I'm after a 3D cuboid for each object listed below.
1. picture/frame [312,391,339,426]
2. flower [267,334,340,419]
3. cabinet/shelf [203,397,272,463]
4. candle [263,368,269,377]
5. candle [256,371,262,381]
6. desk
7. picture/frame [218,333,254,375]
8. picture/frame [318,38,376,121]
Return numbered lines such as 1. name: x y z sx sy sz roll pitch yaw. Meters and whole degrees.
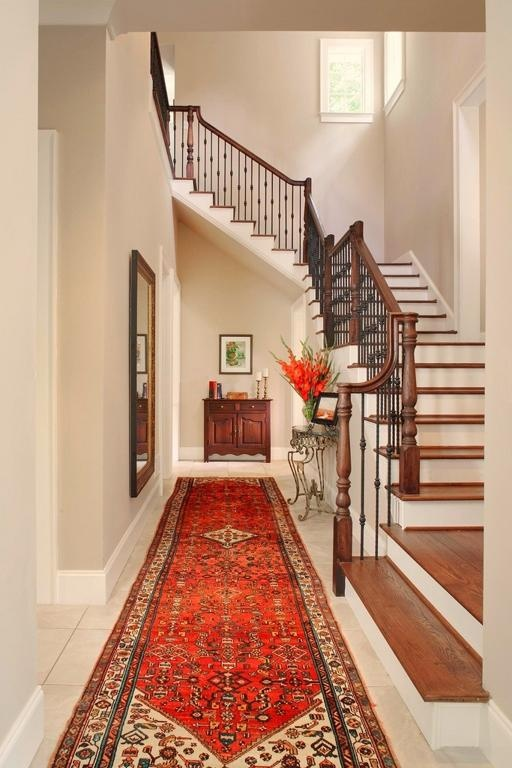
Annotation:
1. picture/frame: 0.546 0.191 4.183 0.016 0.276 0.237 14 -10 -19
2. flower: 0.479 -0.071 4.635 0.632 0.917 0.621 -1 3 -15
3. cabinet/shelf: -0.240 0.610 6.986 0.833 0.819 0.301 0 0 -11
4. candle: 0.137 -0.157 7.422 0.081 0.169 0.088 -5 -6 37
5. candle: 0.047 -0.117 7.426 0.080 0.171 0.090 -3 -2 28
6. desk: 0.500 0.754 4.861 0.447 0.916 0.861 0 2 0
7. picture/frame: -0.280 -0.414 7.479 0.426 0.690 0.042 1 -6 -7
8. picture/frame: 1.298 -4.370 7.702 0.876 1.635 0.117 0 1 -2
